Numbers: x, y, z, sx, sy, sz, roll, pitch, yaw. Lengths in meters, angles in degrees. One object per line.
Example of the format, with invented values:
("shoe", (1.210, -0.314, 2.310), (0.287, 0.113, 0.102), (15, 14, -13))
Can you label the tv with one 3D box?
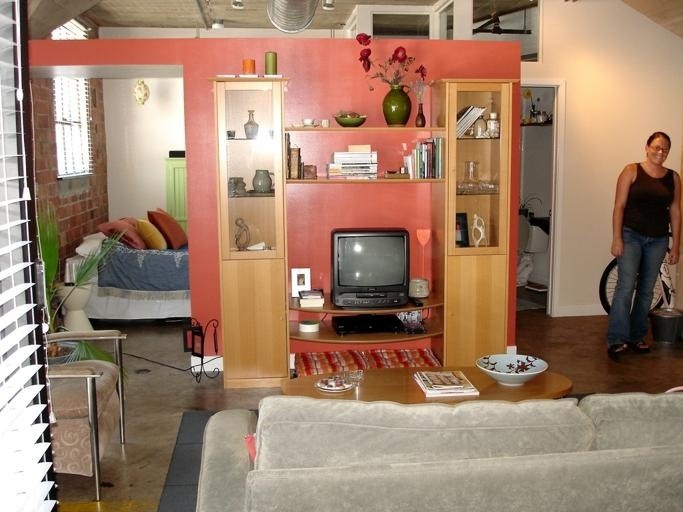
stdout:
("tv", (0.215, 0.089, 4.357), (0.691, 0.570, 0.349), (0, 2, 0))

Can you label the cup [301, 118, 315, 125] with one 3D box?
("cup", (-0.256, -1.011, 4.324), (0.074, 0.033, 0.068), (-1, 6, 0))

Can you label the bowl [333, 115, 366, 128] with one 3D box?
("bowl", (0.072, -1.024, 4.373), (0.229, 0.094, 0.165), (-1, 10, 0))

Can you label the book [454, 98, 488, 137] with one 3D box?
("book", (0.986, -1.019, 4.345), (0.249, 0.238, 0.052), (-7, 13, -28))

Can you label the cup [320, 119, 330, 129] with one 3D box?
("cup", (-0.135, -1.003, 4.378), (0.107, 0.068, 0.102), (-1, 11, 0))

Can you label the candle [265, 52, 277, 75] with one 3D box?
("candle", (-0.530, -1.438, 4.289), (0.074, 0.171, 0.115), (-3, 11, -9))

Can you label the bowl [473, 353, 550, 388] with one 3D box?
("bowl", (0.968, 0.649, 3.340), (0.398, 0.080, 0.366), (2, -15, 1))

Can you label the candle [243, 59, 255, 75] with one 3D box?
("candle", (-0.689, -1.412, 4.286), (0.090, 0.135, 0.214), (-3, 11, -9))

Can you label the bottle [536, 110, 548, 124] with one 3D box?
("bottle", (2.433, -1.672, 6.929), (0.224, 0.145, 0.084), (-8, 13, -33))

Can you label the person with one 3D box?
("person", (2.704, -0.098, 5.037), (0.760, 1.913, 0.367), (-3, 12, -8))

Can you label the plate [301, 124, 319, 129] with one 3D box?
("plate", (-0.232, -0.979, 4.338), (0.135, 0.041, 0.177), (-1, 10, -3))

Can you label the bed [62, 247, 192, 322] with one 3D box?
("bed", (-2.044, 0.320, 6.072), (0.983, 0.477, 0.887), (0, 11, -5))

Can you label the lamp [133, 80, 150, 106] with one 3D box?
("lamp", (-2.806, -2.311, 8.047), (0.217, 0.361, 0.530), (-5, 11, -18))
